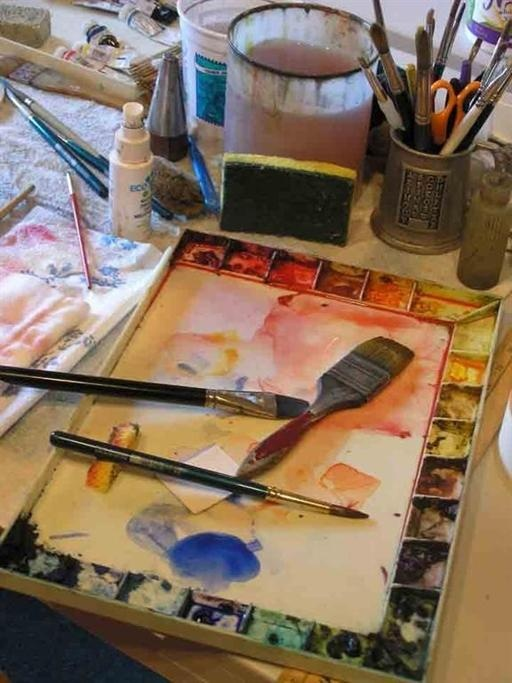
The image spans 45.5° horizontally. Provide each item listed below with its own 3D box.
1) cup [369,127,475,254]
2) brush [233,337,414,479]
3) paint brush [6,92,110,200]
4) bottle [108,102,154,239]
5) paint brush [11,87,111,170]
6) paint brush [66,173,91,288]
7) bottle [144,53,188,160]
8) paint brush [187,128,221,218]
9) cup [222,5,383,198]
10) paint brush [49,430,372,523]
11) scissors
[{"bbox_3d":[0.214,-0.190,0.734,0.139,0.139,0.121,14,55,17],"label":"cup"},{"bbox_3d":[0.078,0.060,0.593,0.065,0.020,0.256,34,53,30],"label":"brush"},{"bbox_3d":[-0.280,-0.270,0.853,0.023,0.023,0.290,-42,63,-5],"label":"paint brush"},{"bbox_3d":[-0.146,-0.192,0.706,0.052,0.163,0.043,-6,34,-12],"label":"bottle"},{"bbox_3d":[-0.283,-0.305,0.880,0.030,0.029,0.275,-44,63,-8],"label":"paint brush"},{"bbox_3d":[-0.215,-0.131,0.735,0.019,0.012,0.213,0,45,-25],"label":"paint brush"},{"bbox_3d":[-0.120,-0.314,0.824,0.056,0.140,0.052,2,33,-1],"label":"bottle"},{"bbox_3d":[-0.074,-0.228,0.814,0.031,0.017,0.147,-21,58,-2],"label":"paint brush"},{"bbox_3d":[0.044,-0.298,0.706,0.179,0.166,0.166,2,32,-1],"label":"cup"},{"bbox_3d":[-0.041,0.111,0.488,0.244,0.017,0.017,12,78,8],"label":"paint brush"},{"bbox_3d":[0.214,-0.251,0.671,0.061,0.068,0.012,-4,31,-8],"label":"scissors"}]
